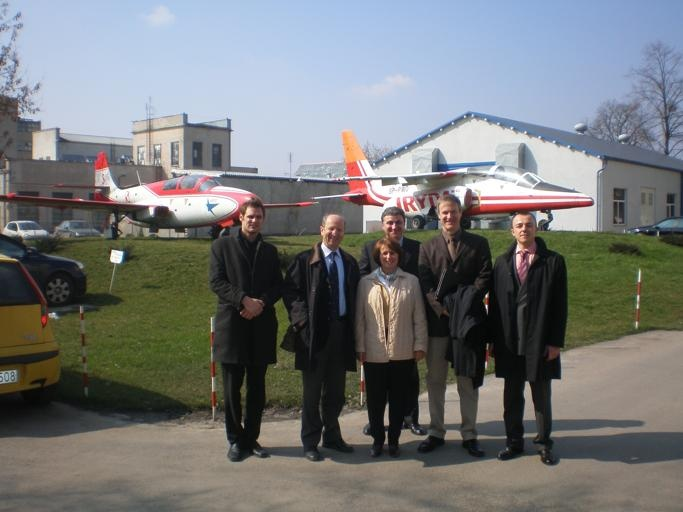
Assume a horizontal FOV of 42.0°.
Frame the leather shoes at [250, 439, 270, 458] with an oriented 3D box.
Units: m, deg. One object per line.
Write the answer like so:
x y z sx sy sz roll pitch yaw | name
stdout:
-1.083 2.595 11.894 0.204 0.145 0.288 -8 13 -31 | leather shoes

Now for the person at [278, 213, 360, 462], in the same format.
-0.218 1.080 12.010 1.044 3.219 0.995 -7 13 -27 | person

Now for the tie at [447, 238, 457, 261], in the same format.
1.516 -0.086 12.149 0.075 0.334 0.088 3 -20 -8 | tie

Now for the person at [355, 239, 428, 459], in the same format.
0.686 1.207 11.973 0.934 2.751 0.798 -3 12 -10 | person

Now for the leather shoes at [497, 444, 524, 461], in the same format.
2.221 2.601 11.674 0.406 0.161 0.138 3 -4 -25 | leather shoes

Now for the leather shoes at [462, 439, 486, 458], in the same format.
1.763 2.572 11.791 0.133 0.138 0.337 -3 0 -20 | leather shoes

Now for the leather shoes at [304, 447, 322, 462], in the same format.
-0.377 2.629 11.782 0.230 0.126 0.250 -2 11 -3 | leather shoes

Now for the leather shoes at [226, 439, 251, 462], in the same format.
-1.358 2.602 11.838 0.248 0.236 0.606 0 2 -7 | leather shoes

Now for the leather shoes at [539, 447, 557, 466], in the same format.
2.680 2.601 11.524 0.181 0.161 0.262 -4 12 -14 | leather shoes

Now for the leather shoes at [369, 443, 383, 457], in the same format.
0.477 2.574 11.891 0.181 0.162 0.289 -1 11 1 | leather shoes

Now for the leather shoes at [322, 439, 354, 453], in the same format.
-0.045 2.592 12.106 0.417 0.163 0.155 1 -2 21 | leather shoes

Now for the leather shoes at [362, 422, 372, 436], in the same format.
0.366 2.464 12.602 0.154 0.070 0.214 2 12 2 | leather shoes

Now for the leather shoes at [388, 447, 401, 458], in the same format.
0.709 2.605 11.833 0.169 0.124 0.160 -1 11 2 | leather shoes
